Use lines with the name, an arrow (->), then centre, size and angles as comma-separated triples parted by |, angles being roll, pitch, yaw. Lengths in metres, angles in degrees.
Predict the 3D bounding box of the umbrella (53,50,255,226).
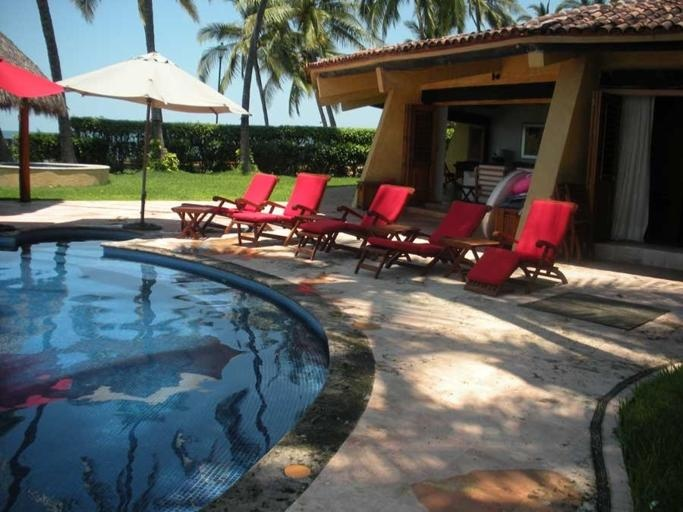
umbrella -> -3.967, -2.762, 10.509 | 3.769, 2.787, 3.929 | 6, 11, 5
